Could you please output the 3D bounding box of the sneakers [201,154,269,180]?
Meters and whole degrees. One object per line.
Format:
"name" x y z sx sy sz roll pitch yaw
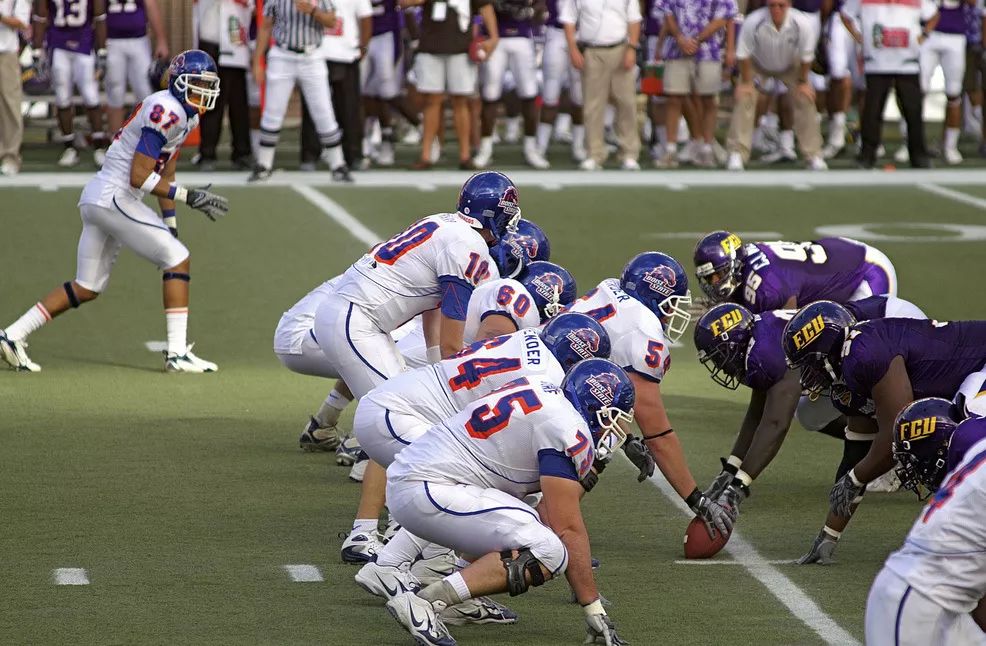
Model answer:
"sneakers" -2.204 -1.365 12.602 0.440 0.198 0.140 -13 13 13

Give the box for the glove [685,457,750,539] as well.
"glove" 1.148 0.879 7.118 0.232 0.170 0.396 -7 26 26

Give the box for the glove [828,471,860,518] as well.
"glove" 1.746 0.844 6.913 0.148 0.249 0.111 4 8 11

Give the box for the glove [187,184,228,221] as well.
"glove" -1.926 -0.807 9.512 0.324 0.252 0.097 22 -25 -33

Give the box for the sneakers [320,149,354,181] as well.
"sneakers" -1.406 -1.459 12.890 0.350 0.125 0.252 21 -28 8

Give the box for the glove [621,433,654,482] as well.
"glove" 0.758 0.705 7.149 0.104 0.216 0.288 -29 -34 -2

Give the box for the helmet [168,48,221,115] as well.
"helmet" -1.988 -1.631 9.341 0.378 0.410 0.327 21 15 36

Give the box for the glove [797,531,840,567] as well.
"glove" 1.618 1.122 6.937 0.179 0.281 0.102 -5 24 -13

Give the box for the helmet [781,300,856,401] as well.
"helmet" 1.605 0.102 6.863 0.399 0.431 0.320 -9 -4 -3

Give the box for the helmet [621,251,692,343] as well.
"helmet" 0.848 -0.170 7.338 0.410 0.428 0.353 19 11 17

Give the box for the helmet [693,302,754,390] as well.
"helmet" 1.203 0.119 7.288 0.284 0.450 0.234 5 9 12

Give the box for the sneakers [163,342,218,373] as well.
"sneakers" -2.057 0.251 9.682 0.420 0.217 0.156 1 4 -5
